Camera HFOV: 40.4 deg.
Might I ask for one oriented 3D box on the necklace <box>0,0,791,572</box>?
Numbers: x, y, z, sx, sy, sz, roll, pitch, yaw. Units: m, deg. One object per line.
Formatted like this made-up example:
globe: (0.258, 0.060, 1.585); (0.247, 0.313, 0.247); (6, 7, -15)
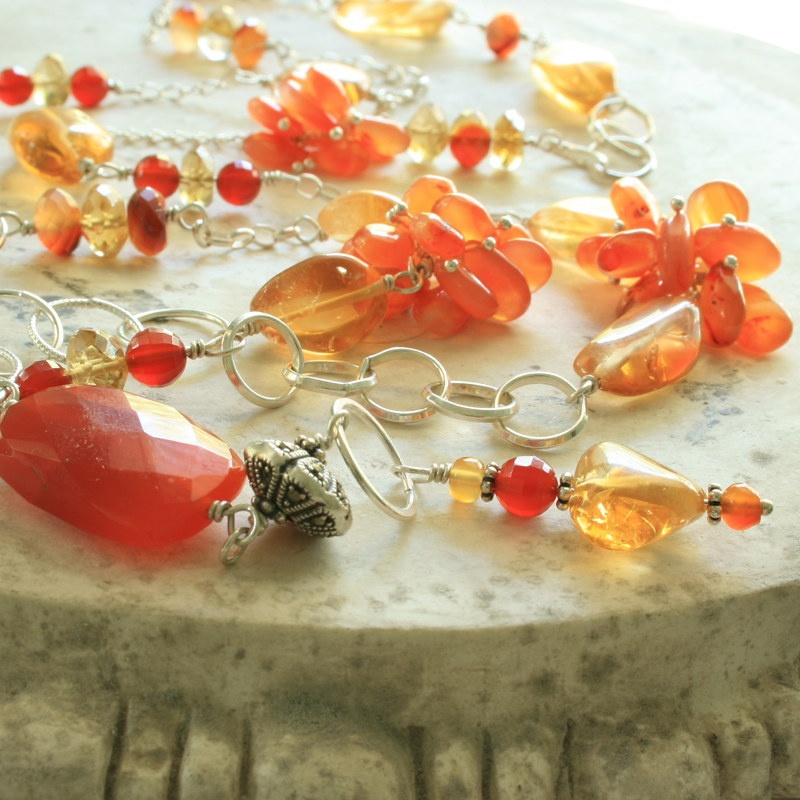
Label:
necklace: (0.016, -0.069, 1.453); (1.027, 0.109, 0.533); (6, 41, -5)

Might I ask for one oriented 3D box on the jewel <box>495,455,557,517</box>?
jewel: (0.149, 0.097, 1.260); (0.087, 0.048, 0.060); (2, 15, 27)

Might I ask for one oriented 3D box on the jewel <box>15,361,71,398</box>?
jewel: (-0.418, -0.025, 1.271); (0.066, 0.031, 0.045); (-17, 42, -21)
